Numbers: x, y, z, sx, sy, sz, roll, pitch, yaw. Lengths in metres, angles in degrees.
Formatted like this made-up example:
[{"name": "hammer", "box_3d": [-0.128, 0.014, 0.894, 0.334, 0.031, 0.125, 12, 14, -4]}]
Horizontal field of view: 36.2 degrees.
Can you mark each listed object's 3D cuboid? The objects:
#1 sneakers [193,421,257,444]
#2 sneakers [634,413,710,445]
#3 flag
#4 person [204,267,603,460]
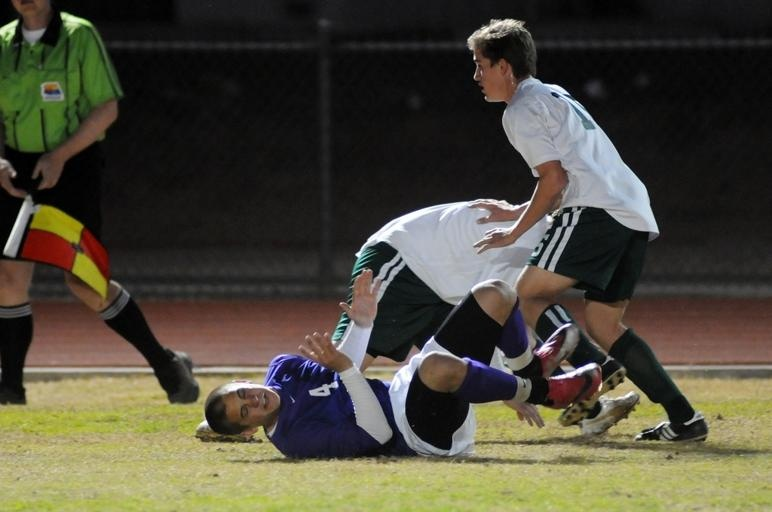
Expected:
[{"name": "sneakers", "box_3d": [-1.031, 1.155, 7.608, 0.267, 0.076, 0.195, 6, -4, -32]}, {"name": "sneakers", "box_3d": [1.824, 1.103, 7.487, 0.523, 0.172, 0.172, 0, -7, 10]}, {"name": "flag", "box_3d": [-2.192, -0.046, 7.860, 0.678, 0.703, 0.315, -1, 10, -15]}, {"name": "person", "box_3d": [0.079, 0.788, 7.269, 2.439, 0.869, 0.833, -4, 26, -1]}]
